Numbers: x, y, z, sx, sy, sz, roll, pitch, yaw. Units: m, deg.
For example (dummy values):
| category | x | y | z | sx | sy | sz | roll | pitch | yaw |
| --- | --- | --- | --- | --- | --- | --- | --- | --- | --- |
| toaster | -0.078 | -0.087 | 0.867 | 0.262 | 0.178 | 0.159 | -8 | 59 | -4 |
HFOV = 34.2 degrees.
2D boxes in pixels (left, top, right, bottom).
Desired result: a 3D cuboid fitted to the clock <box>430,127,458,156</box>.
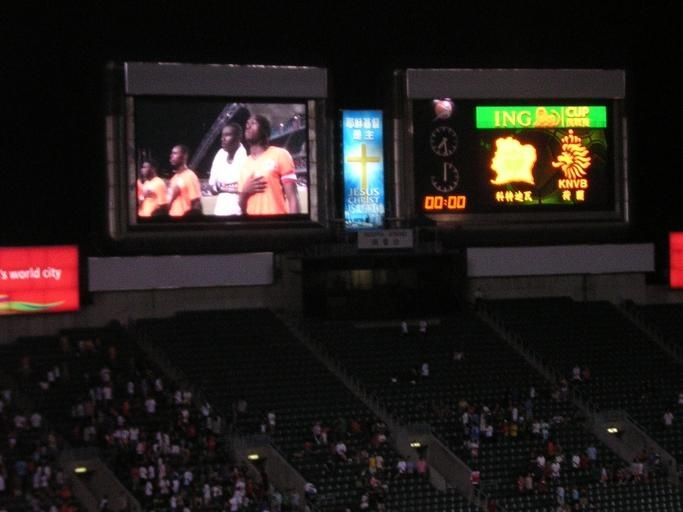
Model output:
| category | x | y | z | sx | sy | sz | roll | pitch | yaw |
| --- | --- | --- | --- | --- | --- | --- | --- | --- | --- |
| clock | 4.463 | -5.045 | 49.220 | 1.206 | 1.301 | 0.172 | 0 | 0 | 1 |
